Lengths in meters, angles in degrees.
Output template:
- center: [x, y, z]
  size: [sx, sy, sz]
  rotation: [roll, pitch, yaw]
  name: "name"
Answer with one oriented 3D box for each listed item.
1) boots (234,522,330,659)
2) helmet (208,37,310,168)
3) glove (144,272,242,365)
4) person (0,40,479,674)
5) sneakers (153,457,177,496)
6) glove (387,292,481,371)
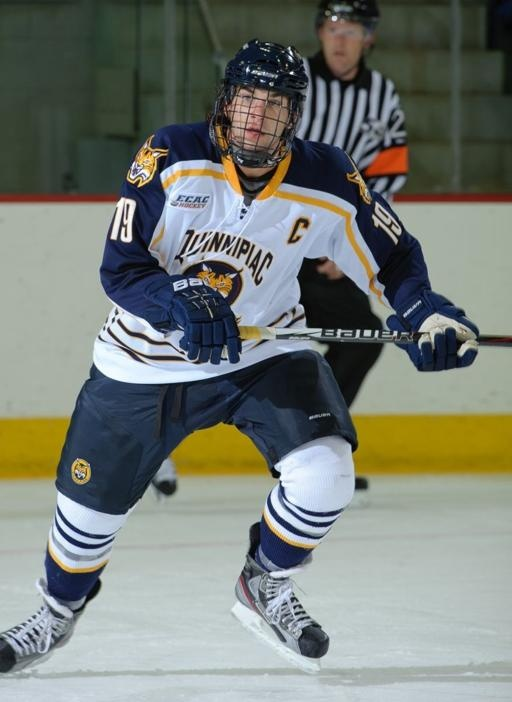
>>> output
- center: [0.051, 0.461, 1.544]
  size: [0.084, 0.179, 0.244]
  rotation: [-14, 27, -37]
  name: "boots"
- center: [0.015, -0.412, 1.504]
  size: [0.154, 0.170, 0.198]
  rotation: [9, 0, 4]
  name: "helmet"
- center: [-0.094, -0.052, 1.349]
  size: [0.164, 0.136, 0.072]
  rotation: [-1, -32, -15]
  name: "glove"
- center: [0.005, 0.047, 1.510]
  size: [0.644, 1.135, 0.462]
  rotation: [13, 18, -4]
  name: "person"
- center: [-0.304, 0.444, 2.987]
  size: [0.120, 0.131, 0.320]
  rotation: [2, -5, -5]
  name: "sneakers"
- center: [0.310, -0.010, 1.494]
  size: [0.181, 0.065, 0.119]
  rotation: [-1, -26, 1]
  name: "glove"
